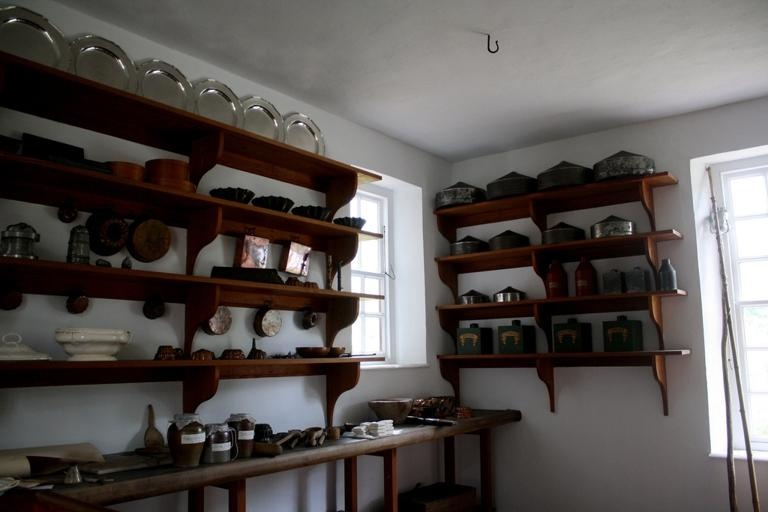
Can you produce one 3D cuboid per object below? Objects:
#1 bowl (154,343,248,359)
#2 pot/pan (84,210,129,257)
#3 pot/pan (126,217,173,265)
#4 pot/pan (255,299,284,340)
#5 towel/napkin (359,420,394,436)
[{"bbox_3d":[-1.297,0.674,3.856,0.606,0.121,0.366,3,-13,-27],"label":"bowl"},{"bbox_3d":[-1.796,-0.150,3.575,0.271,0.267,0.146,36,-21,-35],"label":"pot/pan"},{"bbox_3d":[-1.606,-0.106,3.780,0.294,0.286,0.153,3,-14,-28],"label":"pot/pan"},{"bbox_3d":[-0.914,0.512,4.338,0.075,0.250,0.212,-1,-9,42],"label":"pot/pan"},{"bbox_3d":[-0.035,1.346,4.329,0.143,0.051,0.146,-7,-10,43],"label":"towel/napkin"}]
